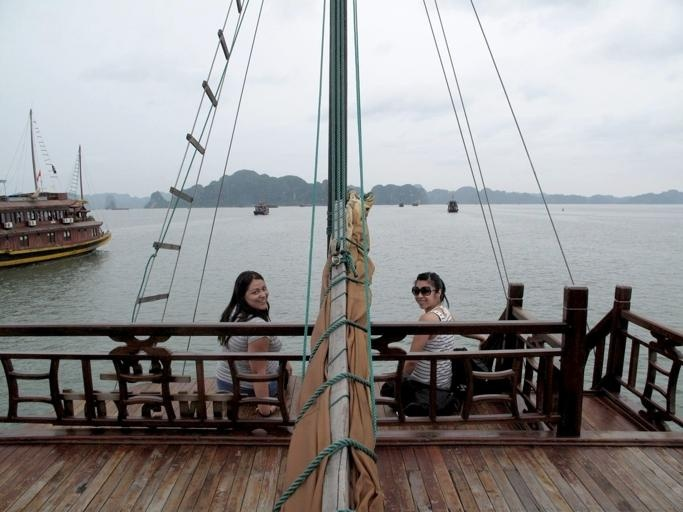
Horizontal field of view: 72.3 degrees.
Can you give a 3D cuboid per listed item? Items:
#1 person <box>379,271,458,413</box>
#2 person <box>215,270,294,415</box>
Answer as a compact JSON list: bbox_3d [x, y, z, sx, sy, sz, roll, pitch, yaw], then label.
[{"bbox_3d":[0.886,1.044,5.563,0.849,1.608,1.037,-2,5,12],"label":"person"},{"bbox_3d":[-0.968,1.007,5.778,1.140,1.631,0.953,-3,16,-28],"label":"person"}]
